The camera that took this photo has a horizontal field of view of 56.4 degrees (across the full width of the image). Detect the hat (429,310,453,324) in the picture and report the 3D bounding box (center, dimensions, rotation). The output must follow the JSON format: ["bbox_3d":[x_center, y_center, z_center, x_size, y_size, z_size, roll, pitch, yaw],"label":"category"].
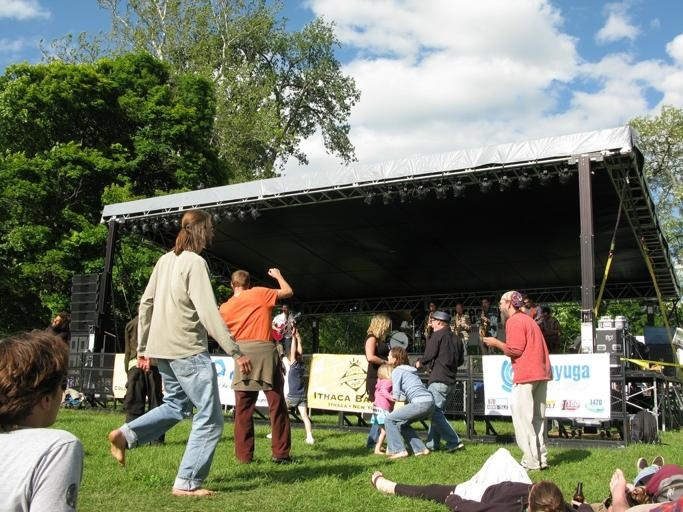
[{"bbox_3d":[1.394,0.873,9.309,0.288,0.118,0.319,9,-4,-11],"label":"hat"}]

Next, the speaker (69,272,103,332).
[{"bbox_3d":[-6.313,1.184,15.781,0.997,1.525,0.386,-6,-12,33],"label":"speaker"}]

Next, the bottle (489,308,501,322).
[{"bbox_3d":[4.825,1.910,20.238,0.284,0.420,0.424,-2,2,18],"label":"bottle"}]

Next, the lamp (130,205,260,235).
[{"bbox_3d":[-3.757,-0.883,16.809,4.553,0.900,0.513,3,11,21],"label":"lamp"}]

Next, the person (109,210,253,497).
[{"bbox_3d":[-1.536,0.914,6.280,1.204,2.772,0.564,0,-10,1],"label":"person"}]

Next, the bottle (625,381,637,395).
[{"bbox_3d":[6.061,2.723,13.232,0.254,0.255,0.862,-5,-13,27],"label":"bottle"}]
